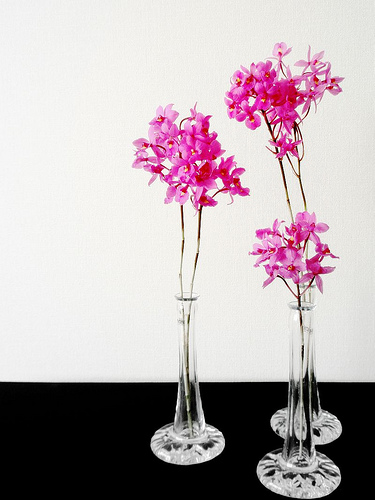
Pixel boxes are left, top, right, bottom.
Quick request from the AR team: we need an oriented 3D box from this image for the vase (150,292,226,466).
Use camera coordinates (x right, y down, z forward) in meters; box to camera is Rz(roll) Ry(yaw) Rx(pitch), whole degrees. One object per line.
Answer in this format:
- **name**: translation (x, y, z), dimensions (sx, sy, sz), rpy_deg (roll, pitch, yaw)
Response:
- **vase**: translation (-0.001, 0.236, 1.021), dimensions (0.141, 0.307, 0.109), rpy_deg (-1, 4, -4)

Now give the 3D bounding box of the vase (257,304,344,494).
- **vase**: translation (0.219, 0.242, 1.003), dimensions (0.147, 0.322, 0.310), rpy_deg (1, 5, 19)

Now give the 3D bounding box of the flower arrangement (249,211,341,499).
- **flower arrangement**: translation (0.199, 0.169, 0.950), dimensions (0.155, 0.475, 0.250), rpy_deg (2, 5, 28)

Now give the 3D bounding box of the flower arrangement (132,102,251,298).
- **flower arrangement**: translation (0.007, -0.058, 0.911), dimensions (0.122, 0.314, 0.135), rpy_deg (-11, -22, 30)
